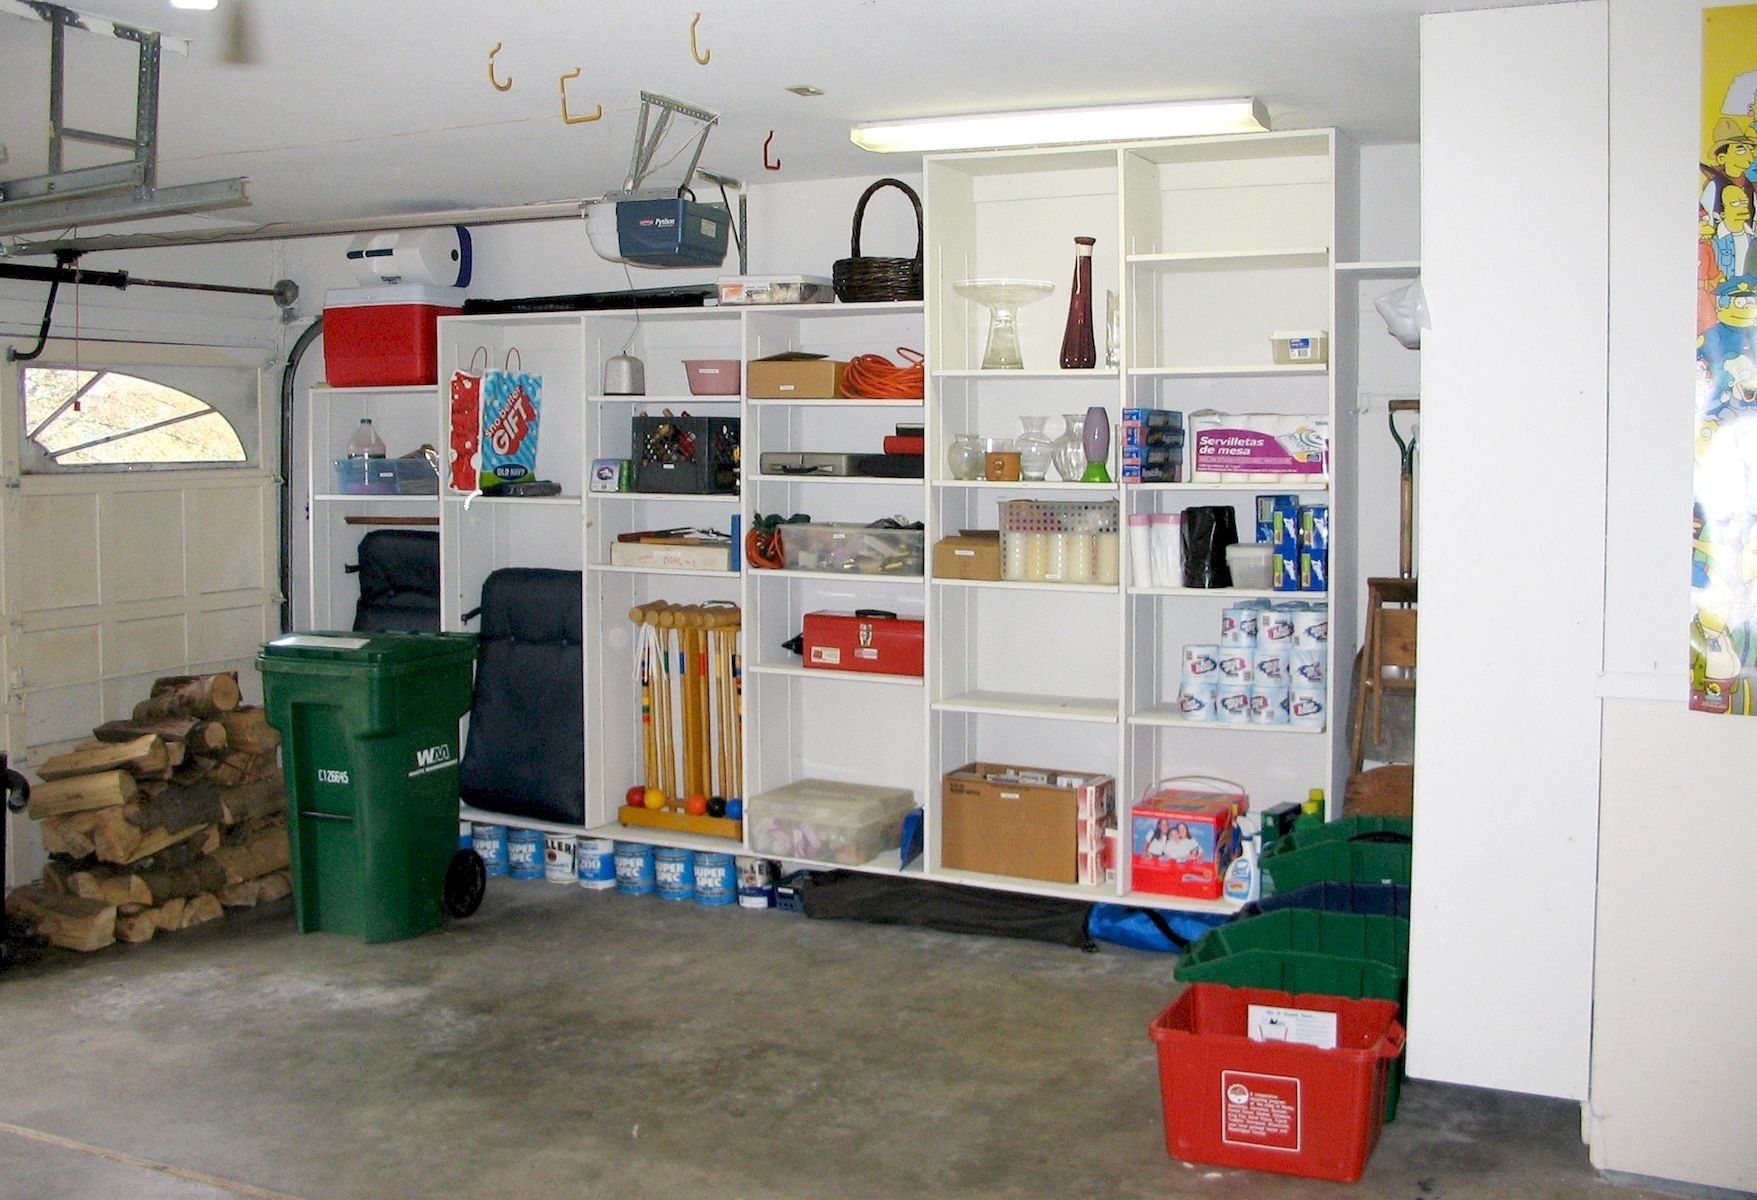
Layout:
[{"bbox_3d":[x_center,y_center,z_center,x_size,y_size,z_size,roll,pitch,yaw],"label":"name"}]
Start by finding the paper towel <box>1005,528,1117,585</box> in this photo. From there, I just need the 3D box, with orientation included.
[{"bbox_3d":[0.848,-0.191,6.509,0.489,0.239,0.235,2,0,10],"label":"paper towel"}]

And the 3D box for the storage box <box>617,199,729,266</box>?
[{"bbox_3d":[-0.885,-1.516,5.972,0.319,0.185,0.318,1,5,17],"label":"storage box"}]

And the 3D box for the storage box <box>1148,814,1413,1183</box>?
[{"bbox_3d":[1.489,1.415,5.022,0.813,0.793,1.084,4,6,16],"label":"storage box"}]

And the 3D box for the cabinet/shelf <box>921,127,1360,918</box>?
[{"bbox_3d":[1.173,-0.694,6.649,2.130,3.292,0.753,6,8,21],"label":"cabinet/shelf"}]

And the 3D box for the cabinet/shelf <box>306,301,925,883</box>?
[{"bbox_3d":[-1.284,-0.164,7.524,3.312,2.667,0.886,2,11,17],"label":"cabinet/shelf"}]

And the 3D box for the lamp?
[{"bbox_3d":[0.781,-2.007,6.053,1.698,0.126,0.511,2,11,15],"label":"lamp"}]

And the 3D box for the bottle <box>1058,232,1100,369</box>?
[{"bbox_3d":[0.930,-1.366,6.584,0.166,0.597,0.449,0,11,8],"label":"bottle"}]

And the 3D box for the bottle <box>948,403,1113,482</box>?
[{"bbox_3d":[0.730,-0.726,6.606,0.739,0.364,0.481,4,6,19],"label":"bottle"}]

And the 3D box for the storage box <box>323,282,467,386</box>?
[{"bbox_3d":[-2.597,-1.430,7.878,0.731,0.558,0.476,5,9,27],"label":"storage box"}]

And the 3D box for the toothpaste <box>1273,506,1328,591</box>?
[{"bbox_3d":[1.834,-0.233,6.189,0.238,0.385,0.105,2,11,15],"label":"toothpaste"}]

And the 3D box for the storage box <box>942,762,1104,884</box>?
[{"bbox_3d":[0.705,1.074,6.660,0.674,0.500,0.389,5,8,30],"label":"storage box"}]

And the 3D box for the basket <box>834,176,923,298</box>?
[{"bbox_3d":[0.033,-1.704,6.827,0.437,0.607,0.542,-3,9,-44],"label":"basket"}]

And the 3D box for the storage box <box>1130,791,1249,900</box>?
[{"bbox_3d":[1.401,1.090,6.555,0.488,0.424,0.357,4,8,19],"label":"storage box"}]

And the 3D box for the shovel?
[{"bbox_3d":[2.208,0.004,6.268,0.280,1.790,0.276,4,9,20],"label":"shovel"}]

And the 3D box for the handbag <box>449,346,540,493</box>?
[{"bbox_3d":[-2.057,-0.880,7.597,0.250,0.653,0.527,5,6,18],"label":"handbag"}]
